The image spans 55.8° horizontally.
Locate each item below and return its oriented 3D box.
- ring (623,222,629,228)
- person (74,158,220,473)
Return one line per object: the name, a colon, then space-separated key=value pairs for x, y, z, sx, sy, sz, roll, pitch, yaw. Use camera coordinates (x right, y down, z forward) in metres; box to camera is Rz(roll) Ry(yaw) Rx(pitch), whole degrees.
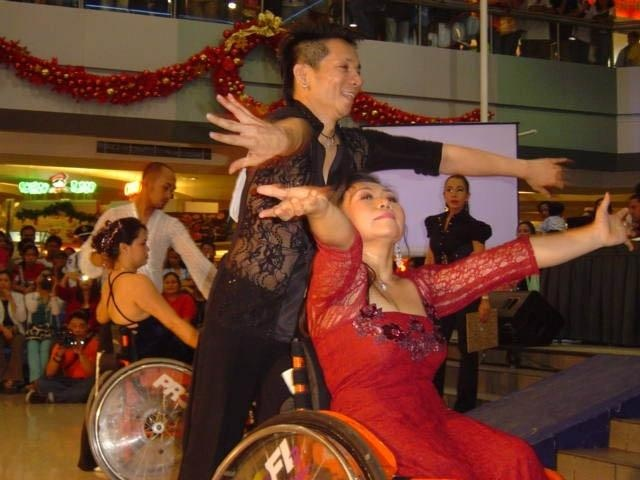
ring: x=1.197 y=-0.057 z=2.355 sx=0.013 sy=0.021 sz=0.022 roll=-11 pitch=-31 yaw=6
person: x=-1.084 y=0.499 z=3.909 sx=0.710 sy=1.323 sz=0.653 roll=-8 pitch=18 yaw=-30
